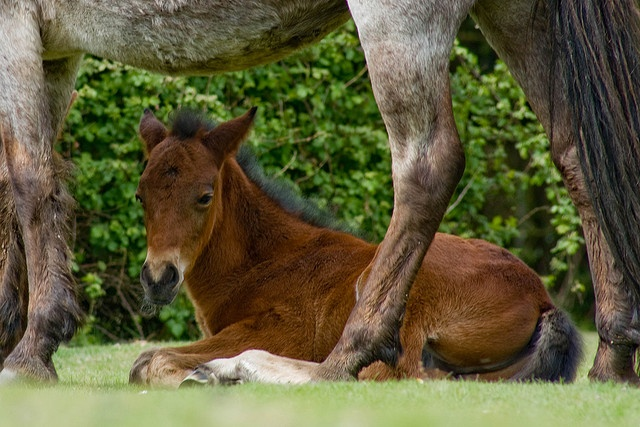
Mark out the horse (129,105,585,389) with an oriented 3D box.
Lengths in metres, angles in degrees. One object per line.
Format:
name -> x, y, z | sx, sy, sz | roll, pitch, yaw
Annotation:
horse -> 0.291, 0.531, 8.632 | 3.462, 2.209, 1.123 | 5, -12, 14
